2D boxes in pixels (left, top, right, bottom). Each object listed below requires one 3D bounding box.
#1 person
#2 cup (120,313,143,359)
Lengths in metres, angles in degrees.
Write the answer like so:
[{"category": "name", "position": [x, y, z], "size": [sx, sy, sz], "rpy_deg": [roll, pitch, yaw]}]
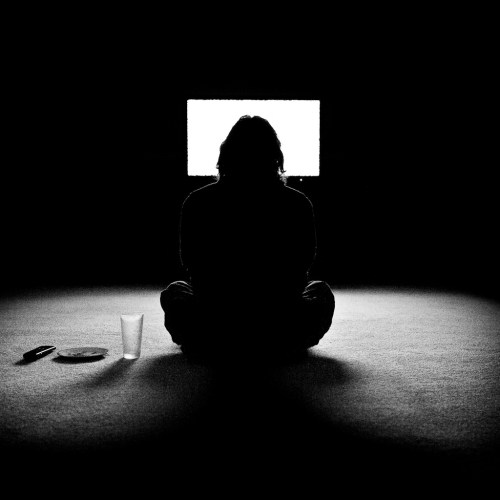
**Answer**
[{"category": "person", "position": [-0.021, -0.044, 2.081], "size": [0.690, 0.940, 0.307], "rpy_deg": [1, 7, 9]}, {"category": "cup", "position": [-0.464, 0.327, 2.065], "size": [0.076, 0.208, 0.230], "rpy_deg": [-2, 7, -14]}]
